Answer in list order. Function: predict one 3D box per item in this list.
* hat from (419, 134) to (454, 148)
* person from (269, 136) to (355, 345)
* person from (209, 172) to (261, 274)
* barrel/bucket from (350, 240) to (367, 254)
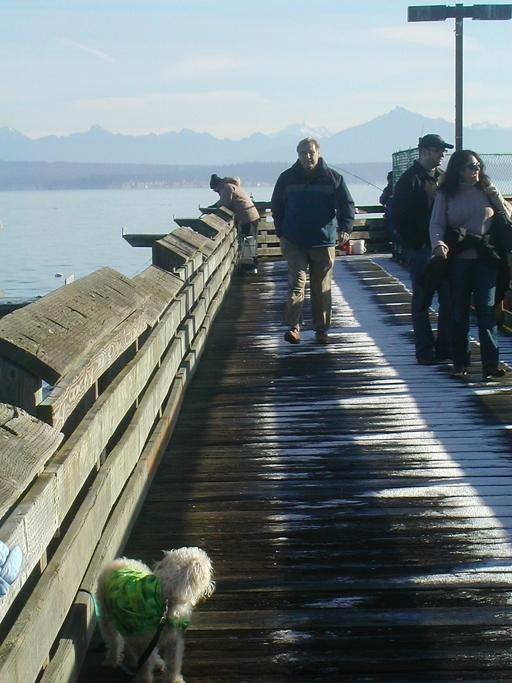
[{"bbox_3d":[1.328,-1.483,5.730,0.268,0.128,0.162,1,17,6],"label":"hat"},{"bbox_3d":[0.484,-0.855,6.666,0.703,1.744,0.494,-1,12,5],"label":"person"},{"bbox_3d":[-0.301,-1.922,12.569,0.753,1.516,2.278,-2,11,-2],"label":"person"},{"bbox_3d":[1.888,-1.760,14.329,0.310,0.208,0.220,-23,26,-29],"label":"barrel/bucket"}]
